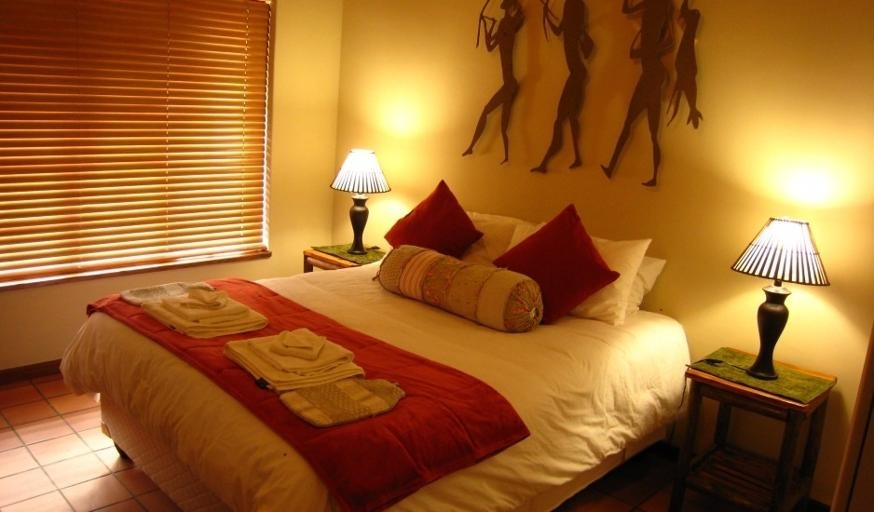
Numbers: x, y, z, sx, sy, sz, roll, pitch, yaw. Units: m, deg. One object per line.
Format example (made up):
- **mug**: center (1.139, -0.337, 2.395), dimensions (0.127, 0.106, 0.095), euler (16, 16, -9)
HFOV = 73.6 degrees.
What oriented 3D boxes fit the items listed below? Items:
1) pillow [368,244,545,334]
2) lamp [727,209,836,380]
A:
- **pillow**: center (0.136, 0.174, 4.182), dimensions (1.244, 0.364, 0.459), euler (15, -4, 41)
- **lamp**: center (2.124, 0.263, 3.698), dimensions (0.475, 0.983, 0.305), euler (18, 19, 38)
